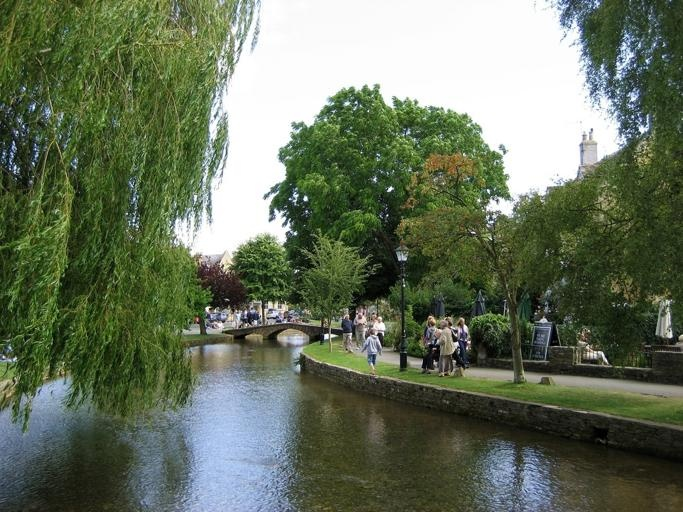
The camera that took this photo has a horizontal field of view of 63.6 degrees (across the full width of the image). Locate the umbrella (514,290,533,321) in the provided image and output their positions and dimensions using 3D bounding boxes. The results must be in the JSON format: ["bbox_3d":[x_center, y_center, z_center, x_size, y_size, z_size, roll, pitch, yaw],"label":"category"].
[{"bbox_3d":[8.509,2.345,25.672,0.569,1.379,2.083,0,-9,18],"label":"umbrella"}]
